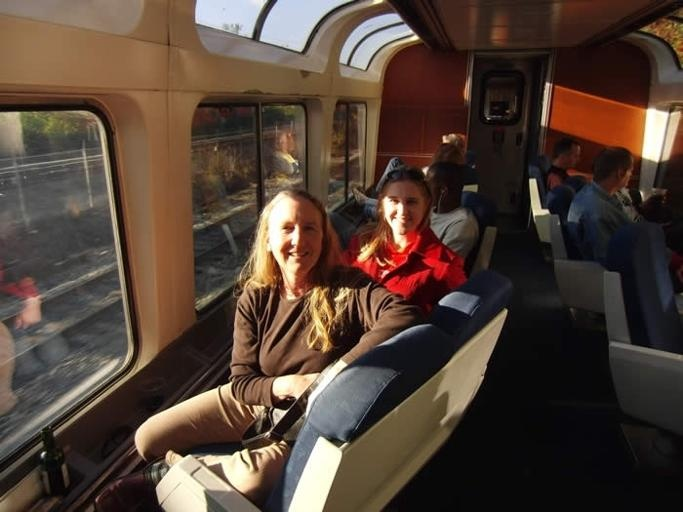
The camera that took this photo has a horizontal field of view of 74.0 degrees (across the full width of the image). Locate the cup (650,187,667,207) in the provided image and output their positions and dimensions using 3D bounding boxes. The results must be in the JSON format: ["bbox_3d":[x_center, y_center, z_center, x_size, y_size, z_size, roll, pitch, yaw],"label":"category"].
[{"bbox_3d":[2.904,-0.555,4.122,0.134,0.164,0.139,-25,38,22],"label":"cup"}]

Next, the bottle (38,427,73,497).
[{"bbox_3d":[-1.634,1.161,2.587,0.109,0.425,0.162,-1,14,-1],"label":"bottle"}]

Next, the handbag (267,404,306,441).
[{"bbox_3d":[-0.252,0.811,2.187,0.047,0.250,0.127,27,-4,-26],"label":"handbag"}]
